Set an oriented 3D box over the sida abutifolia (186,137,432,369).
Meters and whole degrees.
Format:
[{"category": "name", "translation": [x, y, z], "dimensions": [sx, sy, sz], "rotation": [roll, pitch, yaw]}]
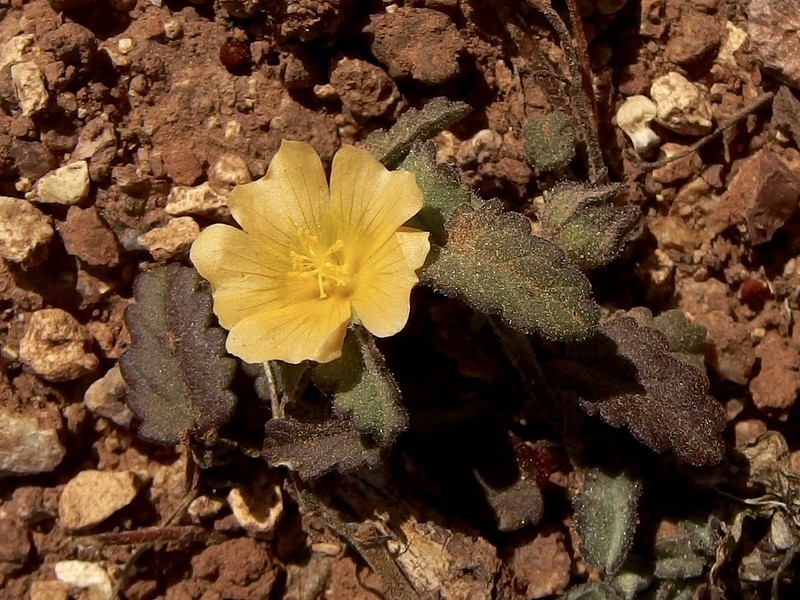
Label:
[{"category": "sida abutifolia", "translation": [-0.337, -0.189, 3.072], "dimensions": [0.725, 0.429, 0.929], "rotation": [1, 87, 9]}]
